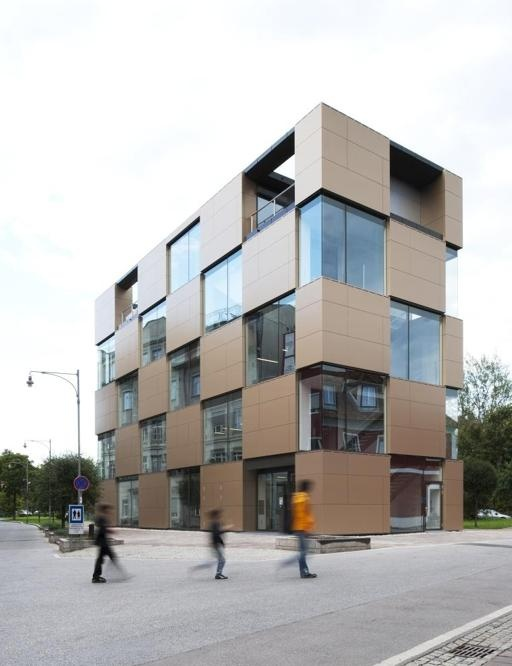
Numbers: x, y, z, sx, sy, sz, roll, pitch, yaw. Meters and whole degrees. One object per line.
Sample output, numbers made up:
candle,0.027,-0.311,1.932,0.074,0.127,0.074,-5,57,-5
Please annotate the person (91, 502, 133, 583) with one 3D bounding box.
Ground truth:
person,-2.691,3.835,15.161,0.567,1.398,1.339,2,-15,-11

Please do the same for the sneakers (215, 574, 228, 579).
sneakers,-0.587,4.243,14.413,0.213,0.091,0.085,-8,-12,32

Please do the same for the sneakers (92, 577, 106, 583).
sneakers,-2.746,4.336,14.508,0.247,0.093,0.324,1,-15,-6

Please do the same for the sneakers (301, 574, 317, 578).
sneakers,0.928,4.121,14.046,0.303,0.074,0.145,6,-16,-23
